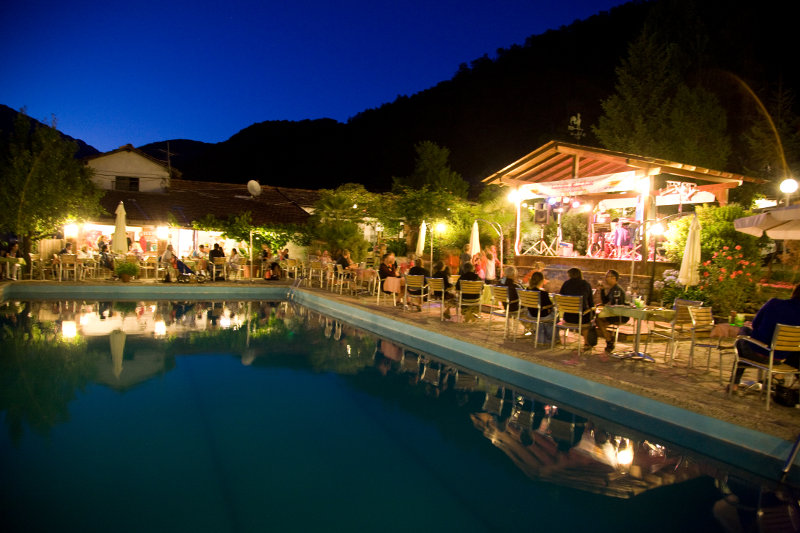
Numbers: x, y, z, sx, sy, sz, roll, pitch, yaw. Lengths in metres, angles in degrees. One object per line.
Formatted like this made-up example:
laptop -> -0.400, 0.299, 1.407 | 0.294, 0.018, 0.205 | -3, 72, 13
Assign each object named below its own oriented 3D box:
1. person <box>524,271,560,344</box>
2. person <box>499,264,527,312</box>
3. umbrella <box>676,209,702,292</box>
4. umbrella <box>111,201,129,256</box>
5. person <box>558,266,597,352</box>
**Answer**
person -> 3.402, 0.993, 13.341 | 0.698, 1.651, 1.130 | 4, 6, 13
person -> 3.017, 0.567, 14.655 | 0.710, 1.160, 0.847 | -16, 16, -39
umbrella -> 7.396, -0.392, 14.090 | 0.441, 1.790, 0.765 | 5, 7, 27
umbrella -> -12.360, -1.657, 24.567 | 0.608, 2.343, 1.380 | -1, 7, -28
person -> 4.163, 0.982, 12.731 | 0.917, 1.872, 0.748 | 2, 6, -2
